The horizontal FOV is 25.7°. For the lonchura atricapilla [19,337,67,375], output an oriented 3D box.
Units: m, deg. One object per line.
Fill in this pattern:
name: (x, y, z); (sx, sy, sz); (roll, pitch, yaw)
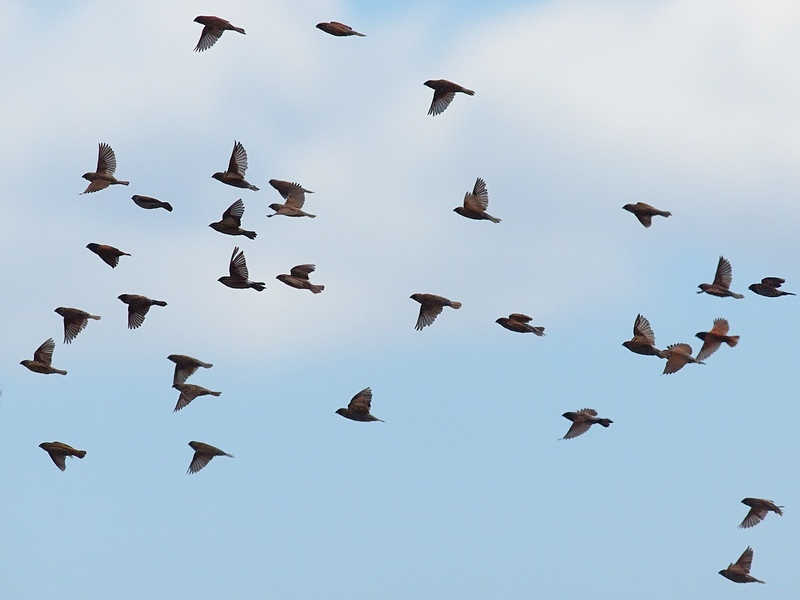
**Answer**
lonchura atricapilla: (-8.032, 1.360, 39.206); (0.772, 1.121, 0.494); (-19, -75, 19)

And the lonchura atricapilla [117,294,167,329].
lonchura atricapilla: (-7.246, 0.276, 48.023); (0.828, 0.763, 0.658); (-12, -45, 18)

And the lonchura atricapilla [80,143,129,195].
lonchura atricapilla: (-8.224, -3.465, 48.595); (1.185, 0.552, 2.161); (10, -43, -23)
